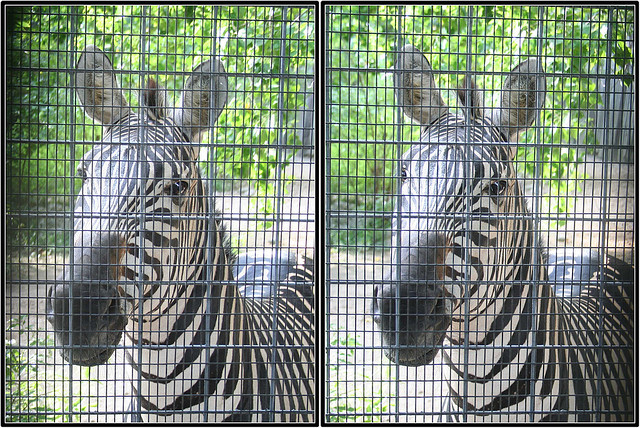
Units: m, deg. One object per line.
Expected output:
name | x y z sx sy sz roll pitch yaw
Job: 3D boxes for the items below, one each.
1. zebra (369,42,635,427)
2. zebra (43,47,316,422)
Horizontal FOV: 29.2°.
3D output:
zebra | 0.751 0.102 5.167 1.175 1.556 0.777 -1 -4 -11
zebra | -0.588 0.112 5.156 1.118 1.551 0.712 0 -4 -15
